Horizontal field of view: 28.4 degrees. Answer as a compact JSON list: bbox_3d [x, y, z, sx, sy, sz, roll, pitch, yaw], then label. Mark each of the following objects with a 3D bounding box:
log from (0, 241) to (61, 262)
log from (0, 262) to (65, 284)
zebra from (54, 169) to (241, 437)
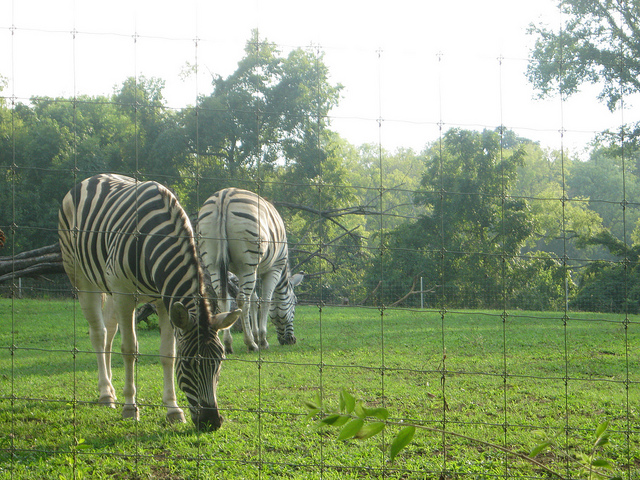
[{"bbox_3d":[-7.844,0.319,34.206,1.388,0.207,0.197,-15,-12,-16],"label":"log"},{"bbox_3d":[-7.379,0.832,32.328,1.700,0.292,0.286,-14,-22,-20],"label":"log"},{"bbox_3d":[-3.988,1.376,28.945,3.945,5.972,2.103,0,-1,44],"label":"zebra"}]
